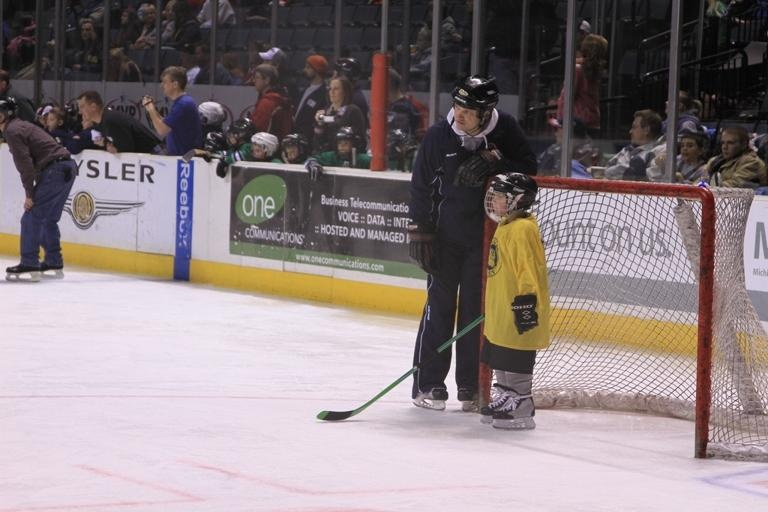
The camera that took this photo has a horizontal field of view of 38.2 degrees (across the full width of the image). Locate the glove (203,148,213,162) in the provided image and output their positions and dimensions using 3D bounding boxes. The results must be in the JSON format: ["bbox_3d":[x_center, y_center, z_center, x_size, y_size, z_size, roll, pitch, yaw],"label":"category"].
[{"bbox_3d":[-2.113,-1.202,13.328,0.097,0.116,0.242,-1,11,-9],"label":"glove"}]

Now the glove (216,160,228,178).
[{"bbox_3d":[-1.897,-1.021,13.076,0.121,0.204,0.143,4,1,3],"label":"glove"}]

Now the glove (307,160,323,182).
[{"bbox_3d":[-0.784,-0.948,12.413,0.137,0.222,0.212,-3,12,-21],"label":"glove"}]

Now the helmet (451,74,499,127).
[{"bbox_3d":[0.687,-1.193,8.454,0.389,0.386,0.315,-3,24,-31],"label":"helmet"}]

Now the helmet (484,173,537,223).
[{"bbox_3d":[0.908,-0.438,8.244,0.398,0.345,0.323,9,4,2],"label":"helmet"}]

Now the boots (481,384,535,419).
[{"bbox_3d":[0.901,1.062,8.190,0.364,0.216,0.238,3,-6,-10],"label":"boots"}]

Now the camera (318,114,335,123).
[{"bbox_3d":[-0.677,-1.606,13.040,0.037,0.083,0.243,-10,15,-43],"label":"camera"}]

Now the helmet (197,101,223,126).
[{"bbox_3d":[-2.170,-1.831,14.099,0.330,0.253,0.237,25,22,7],"label":"helmet"}]

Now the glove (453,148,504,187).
[{"bbox_3d":[0.707,-0.665,8.443,0.354,0.219,0.124,-37,4,-1],"label":"glove"}]

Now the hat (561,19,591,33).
[{"bbox_3d":[1.944,-2.295,11.097,0.154,0.114,0.107,1,10,22],"label":"hat"}]

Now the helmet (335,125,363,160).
[{"bbox_3d":[-0.414,-1.263,12.640,0.300,0.344,0.365,-2,-7,8],"label":"helmet"}]

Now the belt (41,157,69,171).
[{"bbox_3d":[-3.762,-1.077,12.862,0.161,0.081,0.212,-8,-1,-1],"label":"belt"}]

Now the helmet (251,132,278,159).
[{"bbox_3d":[-1.430,-1.319,13.245,0.322,0.258,0.259,5,-1,-35],"label":"helmet"}]

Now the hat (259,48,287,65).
[{"bbox_3d":[-1.455,-2.575,14.507,0.353,0.129,0.210,3,38,-8],"label":"hat"}]

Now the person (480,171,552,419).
[{"bbox_3d":[0.932,0.331,8.122,0.537,1.838,0.449,6,13,21],"label":"person"}]

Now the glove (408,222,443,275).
[{"bbox_3d":[0.303,-0.062,8.568,0.255,0.337,0.126,9,22,28],"label":"glove"}]

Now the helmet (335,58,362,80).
[{"bbox_3d":[-0.403,-2.247,13.429,0.256,0.256,0.511,6,12,21],"label":"helmet"}]
